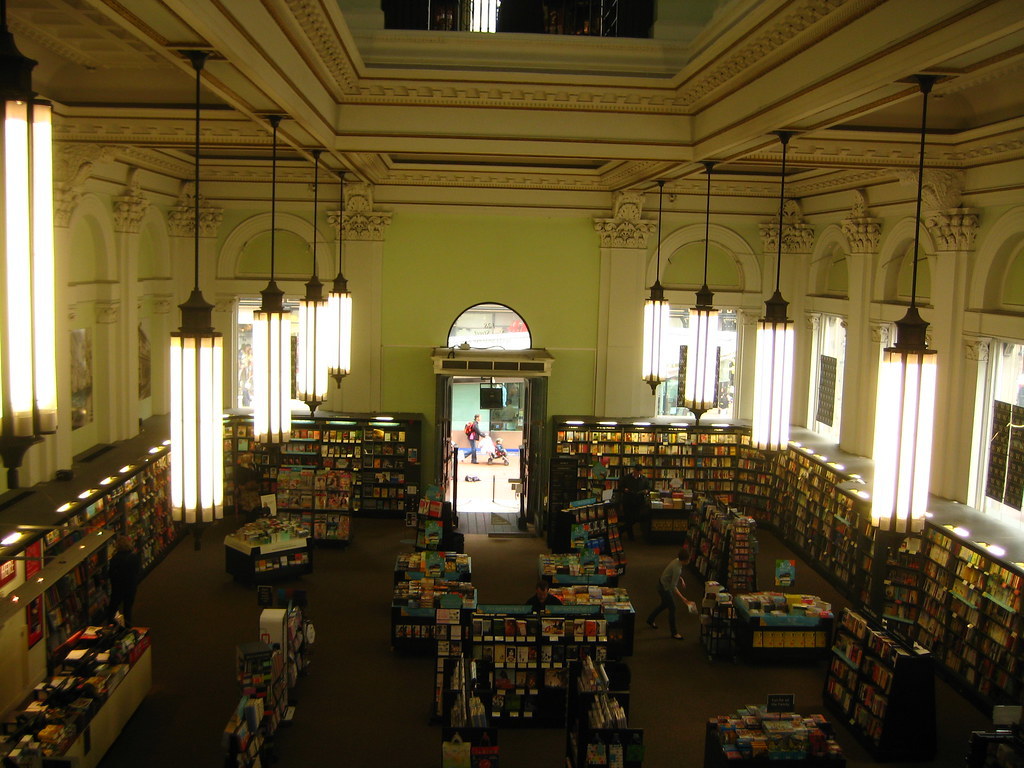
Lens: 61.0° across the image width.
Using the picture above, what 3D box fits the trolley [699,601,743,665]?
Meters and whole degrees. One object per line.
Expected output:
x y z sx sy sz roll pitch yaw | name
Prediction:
2.776 3.231 11.645 0.434 0.849 0.862 2 -9 7 | trolley
